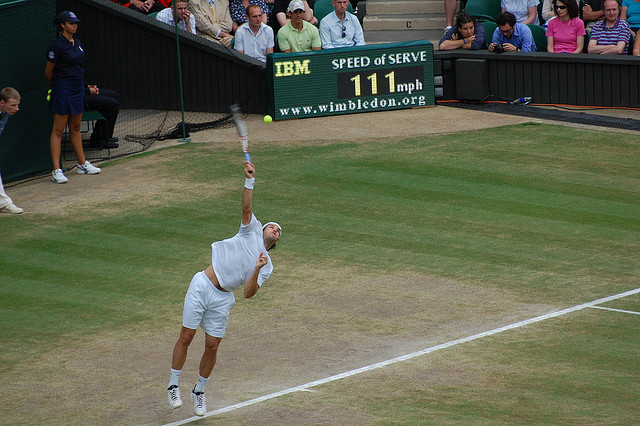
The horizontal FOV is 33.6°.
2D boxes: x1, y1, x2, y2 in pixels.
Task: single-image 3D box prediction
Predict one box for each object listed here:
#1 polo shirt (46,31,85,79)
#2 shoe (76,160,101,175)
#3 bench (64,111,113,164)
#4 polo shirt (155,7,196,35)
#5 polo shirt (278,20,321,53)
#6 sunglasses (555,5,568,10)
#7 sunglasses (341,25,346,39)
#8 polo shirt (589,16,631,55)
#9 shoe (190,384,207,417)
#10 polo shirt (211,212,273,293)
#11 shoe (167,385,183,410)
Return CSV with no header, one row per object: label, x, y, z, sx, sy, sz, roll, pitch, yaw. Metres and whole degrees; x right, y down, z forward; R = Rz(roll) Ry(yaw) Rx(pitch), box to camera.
polo shirt,-4.728,-2.923,19.631,0.360,0.858,0.676,11,20,44
shoe,-4.506,-0.880,20.519,0.537,0.181,0.194,1,15,0
bench,-4.619,-1.538,21.959,0.870,0.839,1.120,3,10,42
polo shirt,-3.406,-4.513,24.707,1.120,0.629,0.728,2,14,19
polo shirt,-0.614,-4.114,24.493,1.169,0.714,0.594,-13,33,-34
sunglasses,5.521,-4.770,24.373,0.309,0.104,0.128,8,17,40
sunglasses,0.534,-4.287,24.864,0.121,0.279,0.055,-4,16,-1
polo shirt,6.660,-4.098,24.358,0.882,0.836,0.566,1,15,18
shoe,-1.553,2.382,13.398,0.183,0.396,0.337,-6,14,-7
polo shirt,-1.039,0.525,13.398,0.694,0.950,0.361,-5,15,-5
shoe,-1.844,2.349,13.328,0.150,0.347,0.208,-7,15,-10
